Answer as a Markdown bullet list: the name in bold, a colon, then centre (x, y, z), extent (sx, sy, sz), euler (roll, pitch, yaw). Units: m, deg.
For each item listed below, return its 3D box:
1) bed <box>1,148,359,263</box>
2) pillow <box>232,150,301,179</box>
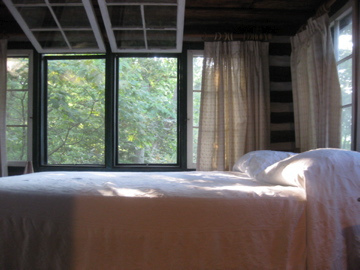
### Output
- **bed**: centre (0.026, 0.416, 2.412), extent (2.294, 0.622, 0.878), euler (2, 14, 8)
- **pillow**: centre (0.671, 0.234, 3.177), extent (0.577, 0.140, 0.476), euler (-24, 5, -17)
